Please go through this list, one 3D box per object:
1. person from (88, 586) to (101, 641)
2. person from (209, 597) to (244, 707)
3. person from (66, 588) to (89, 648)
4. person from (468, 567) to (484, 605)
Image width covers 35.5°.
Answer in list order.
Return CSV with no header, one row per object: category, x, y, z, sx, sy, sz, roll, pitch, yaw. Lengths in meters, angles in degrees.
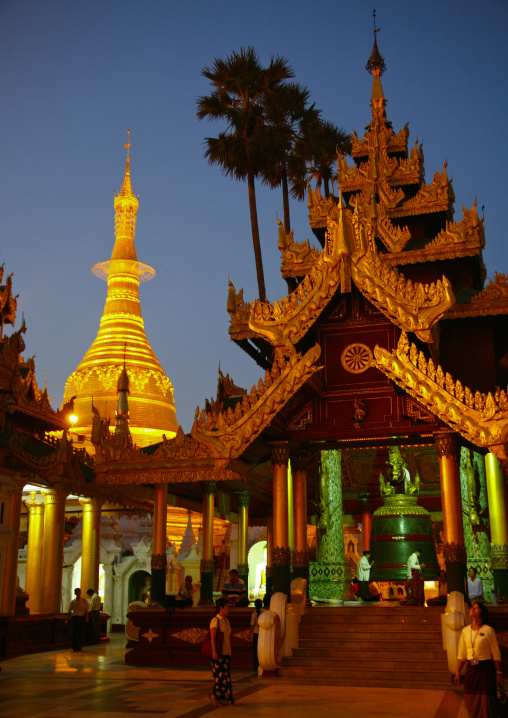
person,-3.626,5.837,17.949,0.270,1.113,0.858,3,-17,-11
person,-0.339,2.993,8.172,0.257,0.973,0.531,0,-17,-2
person,-3.630,5.351,16.352,0.335,1.193,1.451,3,-16,-11
person,3.722,3.763,13.327,0.232,0.520,1.827,-5,-16,15
